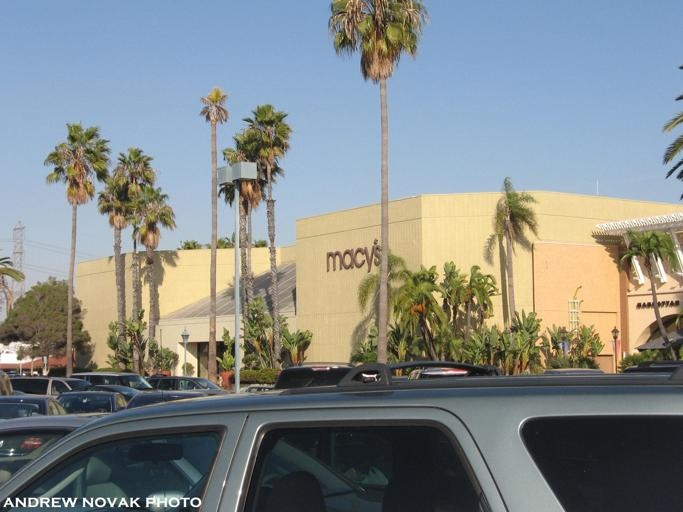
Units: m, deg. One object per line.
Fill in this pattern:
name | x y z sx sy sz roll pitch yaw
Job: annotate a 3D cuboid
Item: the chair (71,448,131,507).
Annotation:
chair | -1.243 1.133 5.133 0.218 0.373 0.273 0 2 -32
